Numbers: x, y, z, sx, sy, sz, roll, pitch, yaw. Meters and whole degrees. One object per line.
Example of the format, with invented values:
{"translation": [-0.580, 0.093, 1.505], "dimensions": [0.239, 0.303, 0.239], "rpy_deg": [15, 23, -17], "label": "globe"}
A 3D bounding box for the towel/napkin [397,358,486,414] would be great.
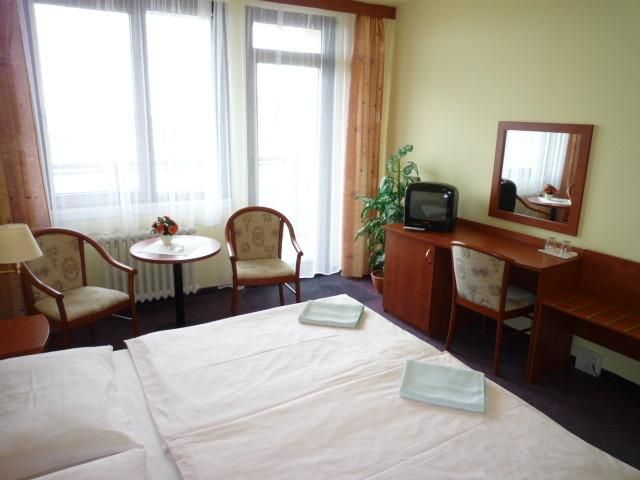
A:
{"translation": [0.686, 0.807, 2.519], "dimensions": [0.311, 0.075, 0.238], "rpy_deg": [10, 20, 12], "label": "towel/napkin"}

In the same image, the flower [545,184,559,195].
{"translation": [1.904, -0.415, 3.787], "dimensions": [0.074, 0.080, 0.081], "rpy_deg": [-19, 33, -20], "label": "flower"}

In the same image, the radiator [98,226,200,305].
{"translation": [-1.623, 0.216, 4.207], "dimensions": [0.777, 0.621, 0.103], "rpy_deg": [-3, 17, -29], "label": "radiator"}

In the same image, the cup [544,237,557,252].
{"translation": [1.869, 0.032, 3.702], "dimensions": [0.090, 0.107, 0.167], "rpy_deg": [8, 16, 27], "label": "cup"}

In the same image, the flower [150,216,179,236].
{"translation": [-1.379, -0.125, 4.054], "dimensions": [0.203, 0.178, 0.173], "rpy_deg": [-2, 15, -10], "label": "flower"}

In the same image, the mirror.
{"translation": [1.878, -0.522, 3.825], "dimensions": [0.038, 1.036, 0.915], "rpy_deg": [-9, 14, -31], "label": "mirror"}

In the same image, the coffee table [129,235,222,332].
{"translation": [-1.205, 0.366, 4.249], "dimensions": [0.806, 0.927, 0.834], "rpy_deg": [0, 12, -2], "label": "coffee table"}

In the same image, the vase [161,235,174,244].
{"translation": [-1.365, -0.002, 4.044], "dimensions": [0.077, 0.059, 0.076], "rpy_deg": [-3, 5, -40], "label": "vase"}

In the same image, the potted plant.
{"translation": [0.700, -0.143, 4.959], "dimensions": [0.727, 1.565, 0.596], "rpy_deg": [5, 8, 25], "label": "potted plant"}

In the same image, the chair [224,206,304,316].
{"translation": [-0.637, 0.167, 4.690], "dimensions": [0.940, 1.365, 0.964], "rpy_deg": [-3, 12, -18], "label": "chair"}
